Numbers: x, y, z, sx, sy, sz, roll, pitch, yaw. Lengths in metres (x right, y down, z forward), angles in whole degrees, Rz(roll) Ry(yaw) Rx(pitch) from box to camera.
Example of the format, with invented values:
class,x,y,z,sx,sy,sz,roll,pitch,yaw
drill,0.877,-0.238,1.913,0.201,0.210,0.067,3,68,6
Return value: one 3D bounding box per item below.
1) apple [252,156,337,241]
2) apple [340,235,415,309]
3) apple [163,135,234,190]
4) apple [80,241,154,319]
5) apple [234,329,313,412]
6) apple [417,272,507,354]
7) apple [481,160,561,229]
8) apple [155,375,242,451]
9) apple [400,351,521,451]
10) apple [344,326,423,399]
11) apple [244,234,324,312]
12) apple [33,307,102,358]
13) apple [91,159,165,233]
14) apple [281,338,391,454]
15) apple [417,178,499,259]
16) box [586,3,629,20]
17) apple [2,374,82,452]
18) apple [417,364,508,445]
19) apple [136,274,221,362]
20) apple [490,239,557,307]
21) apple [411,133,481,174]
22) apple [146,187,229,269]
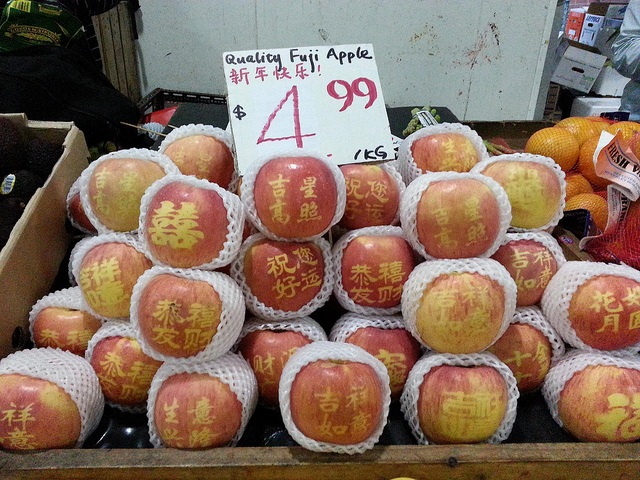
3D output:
class,x,y,z,sx,sy,sz,roll,pitch,yaw
apple,-0.073,-0.111,1.471,0.235,0.196,0.151,-3,38,-9
apple,0.178,0.093,1.602,0.225,0.239,0.240,-5,19,5
apple,-0.387,-0.221,1.702,0.167,0.179,0.185,-11,77,-48
apple,-0.619,0.118,1.545,0.190,0.240,0.202,-7,-8,-10
apple,-0.144,0.341,1.463,0.192,0.242,0.215,-8,-8,-9
apple,0.379,0.192,1.441,0.202,0.217,0.206,-4,-2,-6
apple,0.626,-0.151,1.625,0.190,0.209,0.206,-4,62,14
apple,-0.314,0.447,1.331,0.172,0.182,0.191,1,70,-7
apple,0.403,0.457,1.478,0.243,0.267,0.281,-14,70,30
apple,0.207,0.320,1.480,0.194,0.211,0.198,-3,-7,-33
apple,-0.109,0.095,1.495,0.213,0.159,0.145,0,38,-5
apple,-0.754,0.278,1.580,0.143,0.158,0.165,-2,78,3
apple,-0.572,-0.129,1.608,0.183,0.212,0.205,-5,-1,-3
apple,0.041,0.441,1.408,0.302,0.313,0.316,3,7,6
apple,0.380,-0.056,1.434,0.221,0.185,0.145,3,37,-1
box,2.519,-2.047,4.535,0.281,0.139,0.240,19,41,17
apple,-0.737,0.463,1.427,0.172,0.191,0.183,4,5,2
apple,0.370,0.434,1.368,0.197,0.214,0.209,1,4,4
apple,-0.363,0.206,1.429,0.218,0.239,0.231,4,10,30
apple,0.636,0.095,1.587,0.175,0.202,0.175,-1,2,26
apple,0.407,-0.318,1.638,0.152,0.121,0.149,-12,24,-16
apple,-0.363,-0.026,1.469,0.191,0.206,0.220,-1,76,-2
